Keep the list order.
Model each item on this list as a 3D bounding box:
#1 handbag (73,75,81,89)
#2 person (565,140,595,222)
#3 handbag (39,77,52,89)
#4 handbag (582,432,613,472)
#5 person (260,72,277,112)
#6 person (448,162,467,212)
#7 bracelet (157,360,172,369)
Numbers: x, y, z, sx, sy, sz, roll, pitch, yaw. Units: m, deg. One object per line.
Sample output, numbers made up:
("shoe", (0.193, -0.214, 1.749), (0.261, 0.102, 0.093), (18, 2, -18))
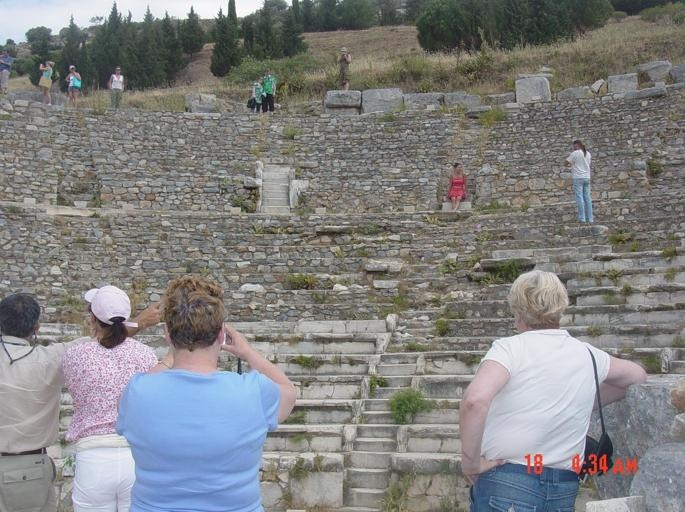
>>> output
("handbag", (-12.567, -8.131, 69.156), (0.345, 0.646, 0.527), (-1, 5, 12))
("person", (10.035, -3.138, 62.524), (0.986, 3.510, 0.757), (-1, 5, 10))
("handbag", (-13.970, -8.047, 68.623), (0.485, 0.391, 0.495), (2, 2, 40))
("handbag", (9.049, 7.046, 53.137), (0.858, 1.452, 1.459), (-3, 1, 0))
("person", (-3.581, -7.834, 70.504), (0.633, 1.898, 1.050), (-2, 5, -4))
("person", (5.119, -3.137, 66.548), (0.774, 2.046, 1.399), (-2, 5, 4))
("bracelet", (-6.352, 3.851, 52.438), (0.318, 0.272, 0.329), (3, -6, -7))
